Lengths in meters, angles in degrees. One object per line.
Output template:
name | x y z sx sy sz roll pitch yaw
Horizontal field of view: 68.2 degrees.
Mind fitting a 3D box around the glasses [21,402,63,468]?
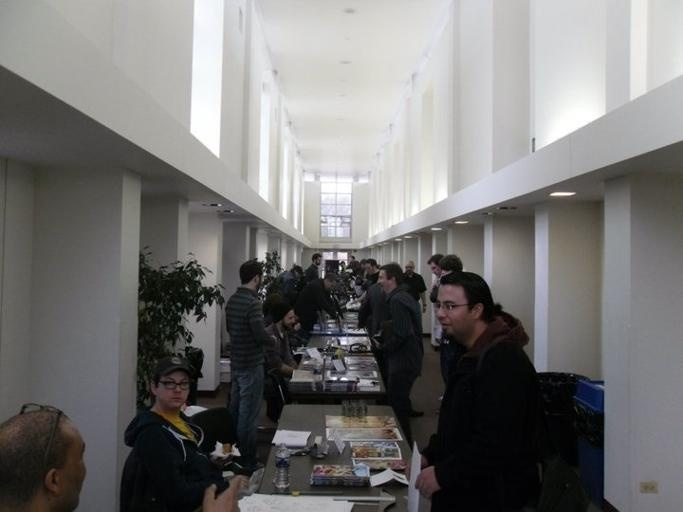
glasses | -1.120 0.676 1.884 0.042 0.169 0.151 17 -17 -38

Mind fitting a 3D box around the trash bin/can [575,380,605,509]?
trash bin/can | 2.298 1.715 4.696 0.252 1.086 0.363 1 -2 25
